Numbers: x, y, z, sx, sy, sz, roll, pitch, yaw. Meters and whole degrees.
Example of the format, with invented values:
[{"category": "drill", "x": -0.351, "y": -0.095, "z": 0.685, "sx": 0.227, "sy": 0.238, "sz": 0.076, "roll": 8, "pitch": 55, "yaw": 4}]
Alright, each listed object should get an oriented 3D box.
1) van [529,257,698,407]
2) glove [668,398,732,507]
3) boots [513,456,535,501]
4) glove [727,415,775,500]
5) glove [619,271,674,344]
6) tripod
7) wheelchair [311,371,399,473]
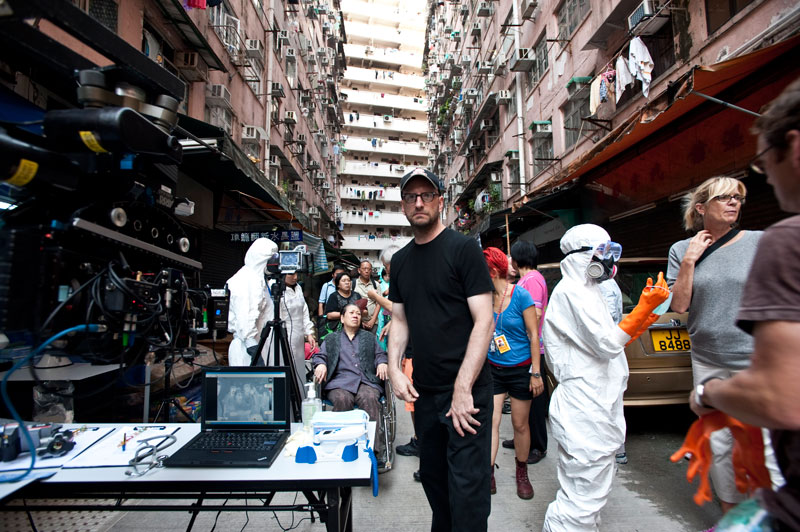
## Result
[{"category": "van", "x": 2.701, "y": 0.810, "z": 7.577, "sx": 1.288, "sy": 1.225, "sz": 2.413, "roll": -1, "pitch": 0, "yaw": 0}, {"category": "glove", "x": 2.007, "y": 1.211, "z": 3.991, "sx": 0.350, "sy": 0.782, "sz": 0.382, "roll": -4, "pitch": 0, "yaw": -25}, {"category": "boots", "x": 1.265, "y": 2.104, "z": 5.838, "sx": 0.178, "sy": 0.377, "sz": 0.214, "roll": -1, "pitch": -8, "yaw": 11}, {"category": "glove", "x": 2.348, "y": 1.279, "z": 3.962, "sx": 0.290, "sy": 0.603, "sz": 0.346, "roll": -4, "pitch": 0, "yaw": -9}, {"category": "glove", "x": 2.107, "y": 0.341, "z": 4.939, "sx": 0.335, "sy": 0.703, "sz": 0.459, "roll": 0, "pitch": 0, "yaw": 1}, {"category": "tripod", "x": -1.157, "y": 0.805, "z": 5.864, "sx": 0.717, "sy": 1.612, "sz": 0.732, "roll": -3, "pitch": -4, "yaw": 31}, {"category": "wheelchair", "x": -0.542, "y": 1.745, "z": 6.475, "sx": 0.781, "sy": 0.997, "sz": 1.155, "roll": 0, "pitch": 6, "yaw": -4}]
